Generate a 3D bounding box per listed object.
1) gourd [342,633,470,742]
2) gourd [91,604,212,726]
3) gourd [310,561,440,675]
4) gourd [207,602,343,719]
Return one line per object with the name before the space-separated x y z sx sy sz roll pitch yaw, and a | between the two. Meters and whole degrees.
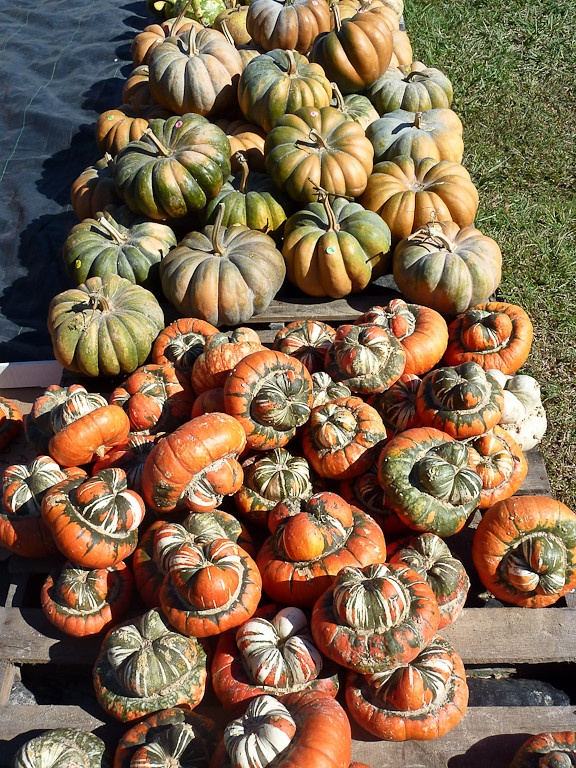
gourd | 0.426 1.017 2.336 0.435 0.191 0.488 -3 21 8
gourd | -0.482 0.976 2.403 0.392 0.344 0.373 -9 39 -11
gourd | 0.274 0.823 2.242 0.397 0.280 0.374 -15 46 -5
gourd | -0.052 0.934 2.271 0.370 0.243 0.365 25 51 16
